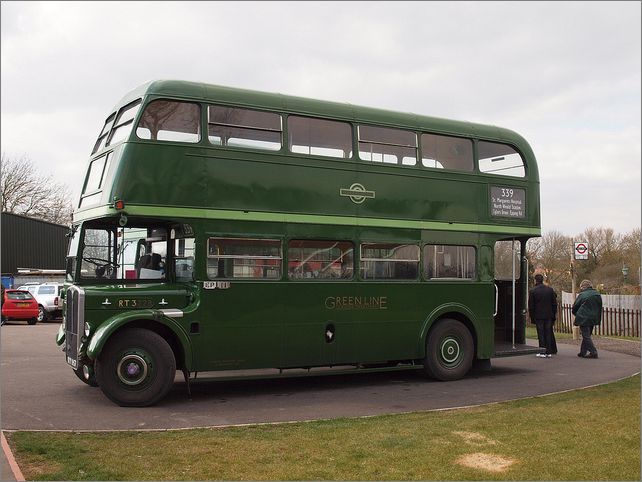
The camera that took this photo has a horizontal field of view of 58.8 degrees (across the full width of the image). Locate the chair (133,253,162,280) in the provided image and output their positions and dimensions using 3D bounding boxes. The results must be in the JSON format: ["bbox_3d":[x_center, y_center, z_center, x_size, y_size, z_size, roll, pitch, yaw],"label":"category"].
[{"bbox_3d":[-3.141,0.496,10.550,0.360,0.521,0.535,5,36,-6],"label":"chair"}]

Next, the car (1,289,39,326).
[{"bbox_3d":[-15.207,3.476,28.845,1.713,1.647,1.546,11,5,-17],"label":"car"}]
